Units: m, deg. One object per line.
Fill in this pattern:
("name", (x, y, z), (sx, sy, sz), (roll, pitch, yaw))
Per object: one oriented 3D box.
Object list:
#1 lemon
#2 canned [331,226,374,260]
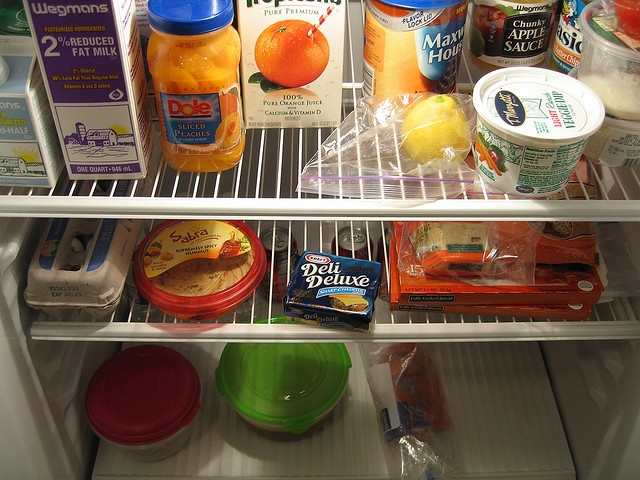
("lemon", (0.229, -0.212, 0.889), (0.139, 0.105, 0.109), (3, 43, 3))
("canned", (0.063, 0.006, 1.247), (0.106, 0.083, 0.104), (13, 5, -1))
